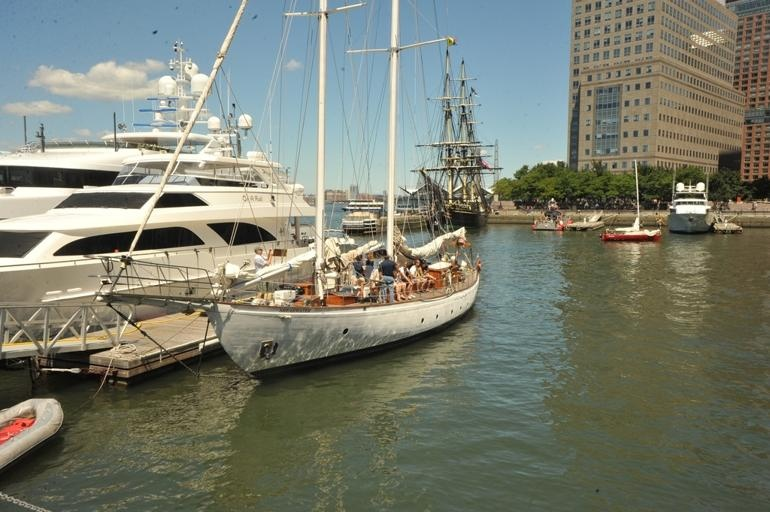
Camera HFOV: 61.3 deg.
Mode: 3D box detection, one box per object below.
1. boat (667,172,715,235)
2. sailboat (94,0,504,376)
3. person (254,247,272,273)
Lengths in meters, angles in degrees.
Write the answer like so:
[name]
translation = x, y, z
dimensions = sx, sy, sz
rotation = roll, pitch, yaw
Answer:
[boat]
translation = 40.380, -6.449, 86.246
dimensions = 4.906, 6.424, 12.020
rotation = 1, 6, 24
[sailboat]
translation = -1.841, -3.810, 28.811
dimensions = 4.974, 16.615, 15.406
rotation = 2, 7, 34
[person]
translation = -5.930, 0.176, 31.445
dimensions = 1.007, 1.268, 0.725
rotation = -12, 26, -11
